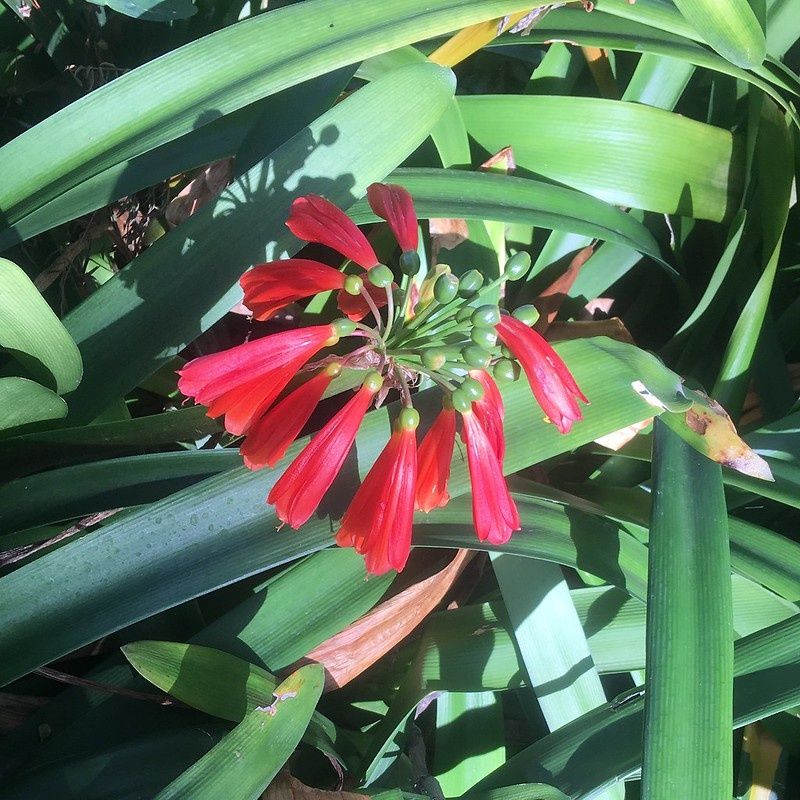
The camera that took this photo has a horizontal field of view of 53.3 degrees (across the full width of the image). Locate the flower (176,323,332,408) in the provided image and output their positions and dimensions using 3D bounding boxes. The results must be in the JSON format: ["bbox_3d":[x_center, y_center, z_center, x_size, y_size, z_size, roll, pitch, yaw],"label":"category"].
[{"bbox_3d":[-0.118,-0.041,0.760,0.165,0.045,0.041,-27,6,-29],"label":"flower"}]

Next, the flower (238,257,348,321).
[{"bbox_3d":[-0.104,-0.103,0.756,0.110,0.045,0.039,-9,-19,0],"label":"flower"}]

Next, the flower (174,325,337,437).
[{"bbox_3d":[-0.128,-0.033,0.747,0.153,0.059,0.077,-31,59,-10],"label":"flower"}]

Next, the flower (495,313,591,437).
[{"bbox_3d":[0.126,-0.025,0.738,0.076,0.112,0.062,-3,16,26],"label":"flower"}]

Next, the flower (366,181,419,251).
[{"bbox_3d":[-0.004,-0.171,0.760,0.041,0.075,0.021,-29,19,-1],"label":"flower"}]
